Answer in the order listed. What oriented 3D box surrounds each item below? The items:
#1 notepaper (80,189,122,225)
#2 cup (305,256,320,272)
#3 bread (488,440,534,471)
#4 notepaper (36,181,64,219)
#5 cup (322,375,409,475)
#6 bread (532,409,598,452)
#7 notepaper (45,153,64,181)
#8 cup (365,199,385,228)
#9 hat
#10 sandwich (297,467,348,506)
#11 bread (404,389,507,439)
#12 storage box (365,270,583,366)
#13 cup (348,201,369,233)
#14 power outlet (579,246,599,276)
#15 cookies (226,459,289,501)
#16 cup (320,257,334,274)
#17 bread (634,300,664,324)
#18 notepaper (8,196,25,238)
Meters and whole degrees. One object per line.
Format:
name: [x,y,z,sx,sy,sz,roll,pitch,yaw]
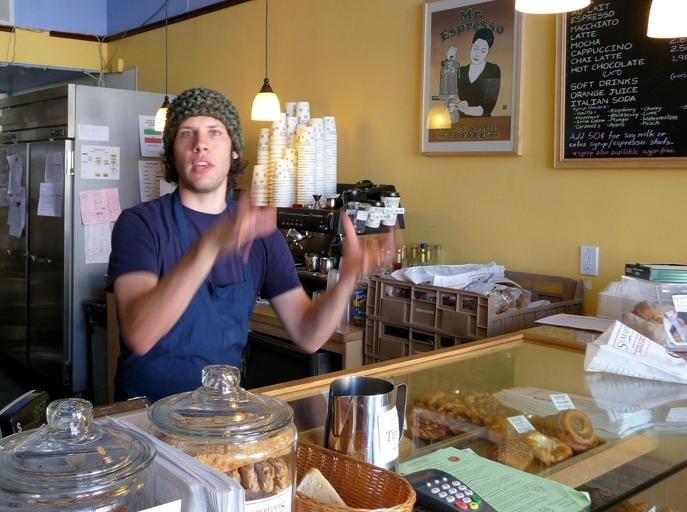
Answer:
notepaper: [-1.929,-0.382,4.017,0.381,0.340,0.039,-12,7,-41]
cup: [-0.196,0.056,3.246,0.085,0.096,0.096,1,3,-7]
bread: [0.357,0.415,1.066,0.054,0.018,0.040,-4,9,-43]
notepaper: [-2.416,-0.471,4.223,0.302,0.288,0.033,3,1,26]
cup: [0.046,0.313,0.987,0.136,0.156,0.180,2,-7,42]
bread: [0.506,0.386,1.143,0.091,0.031,0.071,7,18,30]
notepaper: [-2.354,-0.713,4.146,0.062,0.252,0.396,-4,15,-41]
cup: [0.193,-0.239,3.067,0.137,0.147,0.141,2,0,0]
hat: [-0.527,-0.490,1.925,0.258,0.232,0.240,-5,-20,-32]
sandwich: [-0.035,0.390,0.858,0.051,0.048,0.057,17,10,-41]
bread: [0.269,0.374,1.193,0.247,0.036,0.182,6,12,-2]
storage box: [0.709,0.308,2.716,0.667,0.408,0.665,1,0,-41]
cup: [0.091,-0.237,3.141,0.156,0.211,0.172,-2,2,-31]
power outlet: [1.303,0.030,2.689,0.019,0.160,0.108,-4,15,-42]
cookies: [-0.113,0.314,0.725,0.046,0.022,0.066,-3,-1,43]
cup: [-0.101,0.056,3.133,0.102,0.102,0.072,2,-1,-31]
bread: [1.111,0.210,1.847,0.061,0.045,0.153,9,12,13]
notepaper: [-3.011,-0.358,4.708,0.061,0.371,0.404,4,-1,-37]
